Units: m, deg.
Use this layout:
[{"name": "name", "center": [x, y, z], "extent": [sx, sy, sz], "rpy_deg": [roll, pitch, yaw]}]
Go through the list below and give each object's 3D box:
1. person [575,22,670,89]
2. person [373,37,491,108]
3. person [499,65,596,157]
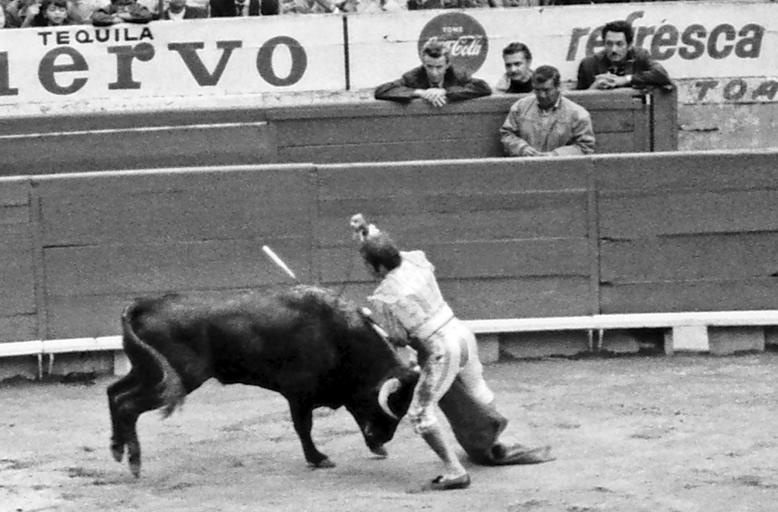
[{"name": "person", "center": [2.161, -1.765, 18.260], "extent": [0.983, 0.673, 0.595], "rpy_deg": [0, -1, 39]}, {"name": "person", "center": [0.394, -1.628, 17.967], "extent": [1.035, 0.588, 0.355], "rpy_deg": [-3, 5, 1]}, {"name": "person", "center": [1.407, -1.221, 17.610], "extent": [0.957, 0.790, 0.502], "rpy_deg": [5, 14, 32]}]
